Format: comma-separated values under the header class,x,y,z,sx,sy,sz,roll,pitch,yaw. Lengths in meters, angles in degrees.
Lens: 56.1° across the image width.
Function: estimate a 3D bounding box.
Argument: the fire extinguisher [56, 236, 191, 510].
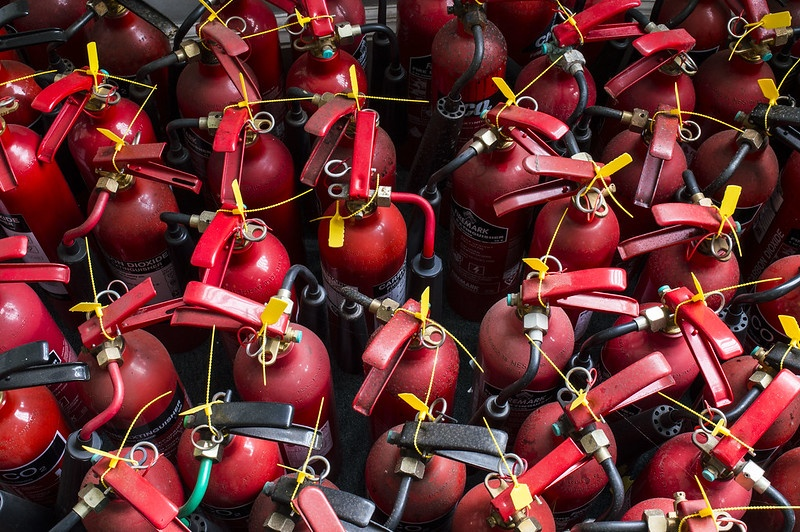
class,x,y,z,sx,sy,sz,roll,pitch,yaw
fire extinguisher,-0.706,0.268,1.899,0.335,0.646,0.306,27,56,12
